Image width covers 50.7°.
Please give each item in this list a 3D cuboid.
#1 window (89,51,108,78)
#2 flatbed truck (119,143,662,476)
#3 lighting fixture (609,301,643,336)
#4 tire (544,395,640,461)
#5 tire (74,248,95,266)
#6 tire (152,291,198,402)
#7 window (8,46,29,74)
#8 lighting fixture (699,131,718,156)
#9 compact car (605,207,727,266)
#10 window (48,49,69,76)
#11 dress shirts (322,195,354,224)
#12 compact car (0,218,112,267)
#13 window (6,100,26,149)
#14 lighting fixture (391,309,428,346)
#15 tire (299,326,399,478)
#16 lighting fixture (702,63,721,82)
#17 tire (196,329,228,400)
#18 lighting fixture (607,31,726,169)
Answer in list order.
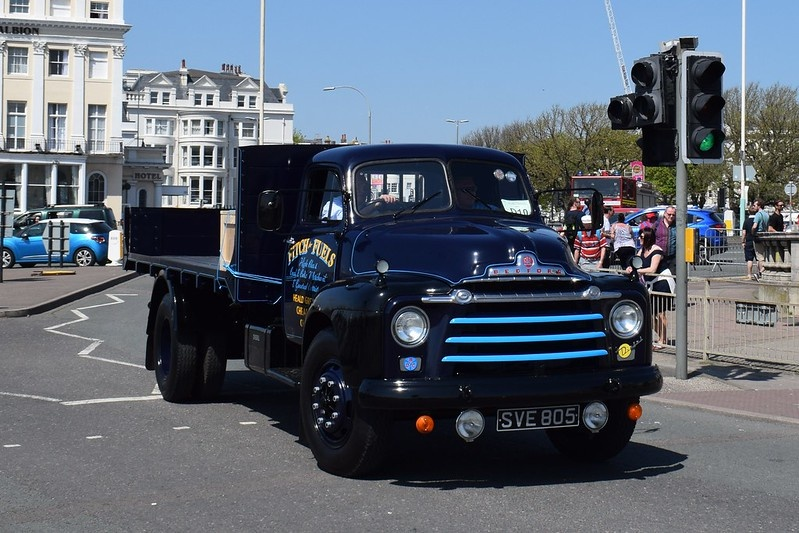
[{"bbox_3d":[-21.102,-14.208,59.673,1.704,2.452,0.264,1,-3,-16],"label":"window"},{"bbox_3d":[-0.350,0.398,9.802,2.668,3.726,6.227,-1,10,-40],"label":"flatbed truck"},{"bbox_3d":[2.271,0.506,8.389,0.356,0.378,0.143,15,13,40],"label":"lighting fixture"},{"bbox_3d":[1.943,1.614,8.555,0.722,0.783,0.295,8,4,25],"label":"tire"},{"bbox_3d":[-12.747,-0.391,34.476,0.615,0.671,0.235,5,-2,-2],"label":"tire"},{"bbox_3d":[-2.938,1.078,11.264,0.402,1.475,1.272,3,4,-24],"label":"tire"},{"bbox_3d":[-26.175,-14.201,58.429,1.798,2.530,0.190,0,-1,-27],"label":"window"},{"bbox_3d":[4.299,-1.722,11.824,0.303,0.326,0.168,-1,3,-21],"label":"lighting fixture"},{"bbox_3d":[13.132,-1.633,38.916,2.545,2.413,5.394,-17,11,-29],"label":"compact car"},{"bbox_3d":[-23.653,-14.205,59.043,1.768,2.582,0.146,1,-4,-24],"label":"window"},{"bbox_3d":[-0.670,-0.608,9.352,0.072,0.289,0.256,17,-25,-35],"label":"dress shirts"},{"bbox_3d":[-13.702,-0.849,34.047,3.374,1.632,2.016,2,1,-1],"label":"compact car"},{"bbox_3d":[-26.340,-9.735,58.636,1.236,3.176,0.590,2,7,-26],"label":"window"},{"bbox_3d":[0.101,0.551,7.885,0.313,0.342,0.327,1,-1,-8],"label":"lighting fixture"},{"bbox_3d":[-0.540,1.356,8.304,1.067,1.368,0.267,11,9,40],"label":"tire"},{"bbox_3d":[4.375,-2.691,11.788,0.342,0.236,0.099,2,7,-24],"label":"lighting fixture"},{"bbox_3d":[-2.470,1.251,11.163,0.264,0.868,0.823,2,6,-20],"label":"tire"},{"bbox_3d":[4.255,-2.361,12.103,1.345,1.679,1.317,-4,8,-25],"label":"lighting fixture"}]
